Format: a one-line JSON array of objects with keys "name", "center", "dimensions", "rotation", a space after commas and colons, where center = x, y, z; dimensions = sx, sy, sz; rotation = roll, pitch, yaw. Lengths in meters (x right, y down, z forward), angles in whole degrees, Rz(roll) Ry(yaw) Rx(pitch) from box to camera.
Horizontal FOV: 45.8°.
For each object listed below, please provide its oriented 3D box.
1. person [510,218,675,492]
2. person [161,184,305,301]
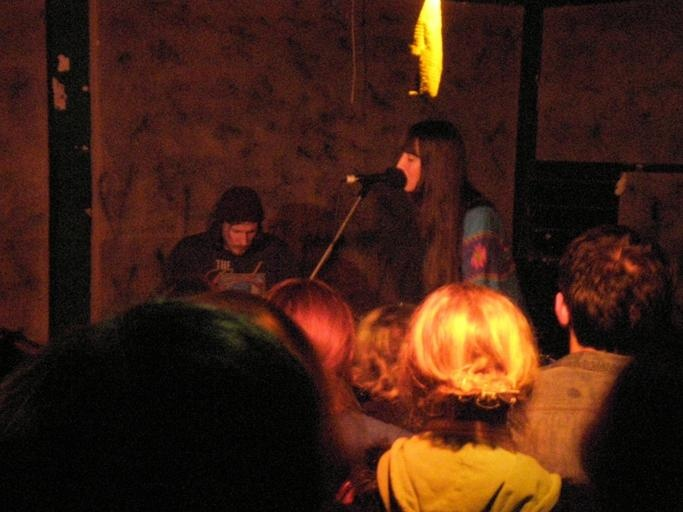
[{"name": "person", "center": [1.104, 0.428, 3.783], "dimensions": [0.942, 1.194, 0.551], "rotation": [2, 29, 3]}, {"name": "person", "center": [-0.751, -0.066, 5.769], "dimensions": [0.975, 0.930, 0.526], "rotation": [-2, 31, -18]}]
